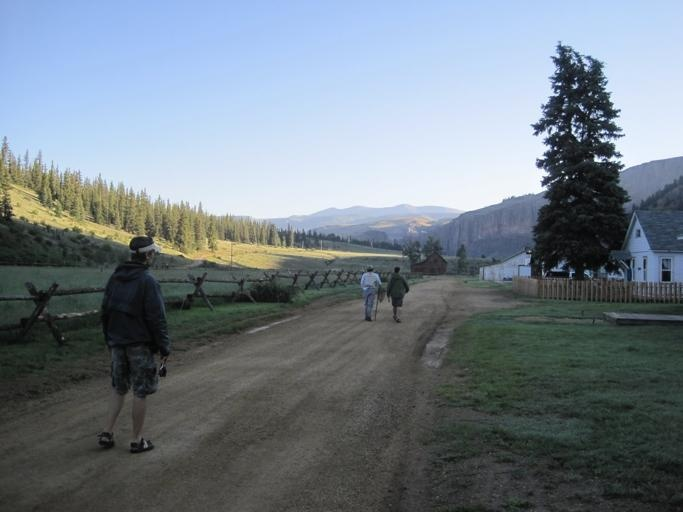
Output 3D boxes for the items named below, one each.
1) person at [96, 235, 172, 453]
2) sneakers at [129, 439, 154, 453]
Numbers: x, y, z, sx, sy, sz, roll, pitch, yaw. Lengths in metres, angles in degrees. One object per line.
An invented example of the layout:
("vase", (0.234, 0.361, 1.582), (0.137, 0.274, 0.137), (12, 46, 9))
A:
("person", (-3.025, 1.233, 6.720), (0.994, 3.003, 0.705), (0, 3, 13))
("sneakers", (-2.808, 2.682, 6.467), (0.303, 0.155, 0.151), (-2, -2, -25))
